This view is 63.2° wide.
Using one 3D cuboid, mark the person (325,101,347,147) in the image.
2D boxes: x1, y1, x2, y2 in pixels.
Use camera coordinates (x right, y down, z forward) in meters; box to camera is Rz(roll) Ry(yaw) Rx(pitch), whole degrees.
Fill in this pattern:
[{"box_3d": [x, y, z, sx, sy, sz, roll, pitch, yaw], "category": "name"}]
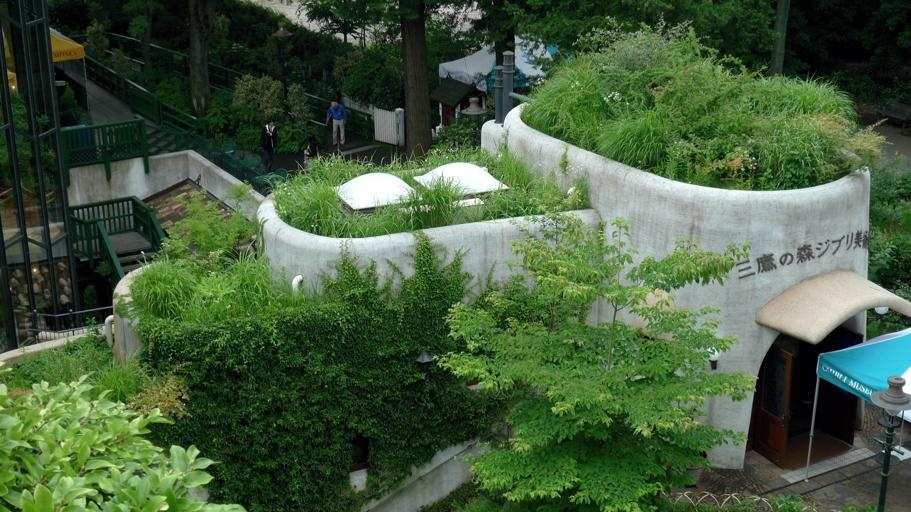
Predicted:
[{"box_3d": [-4.809, -5.197, 29.879, 0.617, 1.919, 1.458, -15, 33, -27], "category": "person"}]
